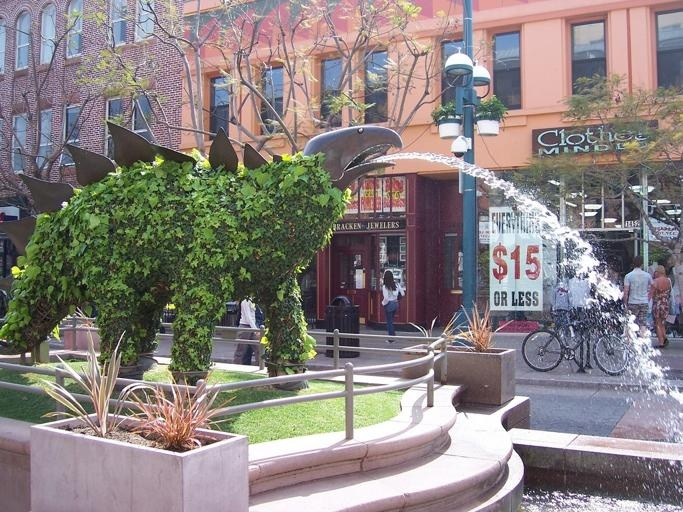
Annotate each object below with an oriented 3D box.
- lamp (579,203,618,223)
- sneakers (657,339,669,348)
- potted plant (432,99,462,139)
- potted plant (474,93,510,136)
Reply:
[{"bbox_3d":[6.887,-1.141,18.721,0.924,0.558,0.228,-3,-3,19],"label":"lamp"},{"bbox_3d":[7.609,2.098,16.537,0.131,0.168,0.385,-1,3,10],"label":"sneakers"},{"bbox_3d":[2.410,-3.137,15.829,0.502,0.952,0.697,-1,-3,-13],"label":"potted plant"},{"bbox_3d":[3.426,-3.223,16.181,0.837,0.956,0.891,-2,4,-31],"label":"potted plant"}]
